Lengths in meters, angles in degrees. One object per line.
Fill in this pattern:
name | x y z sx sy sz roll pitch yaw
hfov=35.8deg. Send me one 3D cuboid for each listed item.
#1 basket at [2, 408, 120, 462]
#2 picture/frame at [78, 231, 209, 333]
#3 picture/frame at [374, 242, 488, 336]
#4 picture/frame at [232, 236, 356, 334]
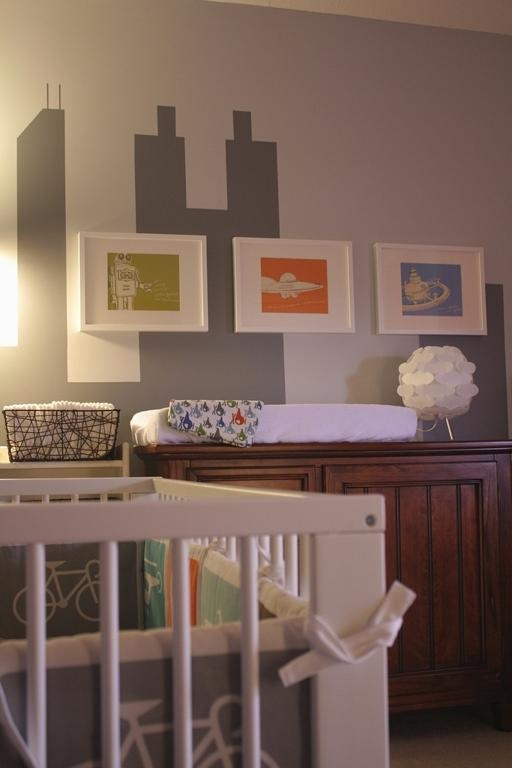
basket | -0.525 0.140 2.133 0.295 0.145 0.060 2 -4 -17
picture/frame | -0.350 -0.322 2.486 0.408 0.303 0.029 2 8 8
picture/frame | 0.595 -0.323 2.753 0.352 0.258 0.012 -1 -5 -12
picture/frame | 0.109 -0.320 2.611 0.353 0.251 0.013 0 -5 -13
